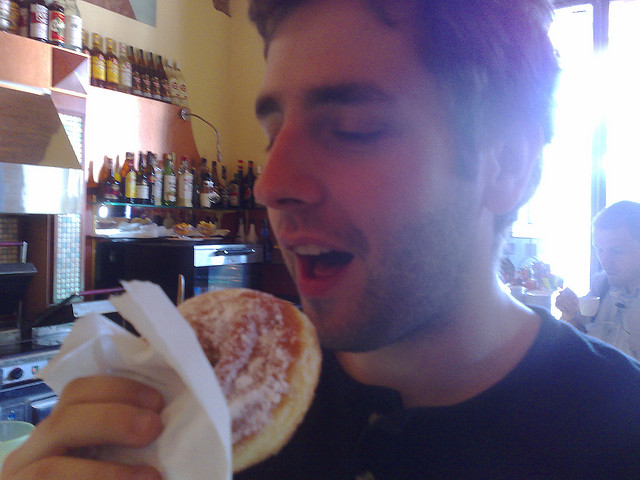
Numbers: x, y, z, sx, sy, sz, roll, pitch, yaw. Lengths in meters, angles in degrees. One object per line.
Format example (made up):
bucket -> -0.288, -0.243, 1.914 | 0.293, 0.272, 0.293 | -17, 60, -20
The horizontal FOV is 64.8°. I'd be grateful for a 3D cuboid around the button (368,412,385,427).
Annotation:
button -> 0.100, 0.325, 0.910 | 0.022, 0.006, 0.021 | -1, 6, -37
